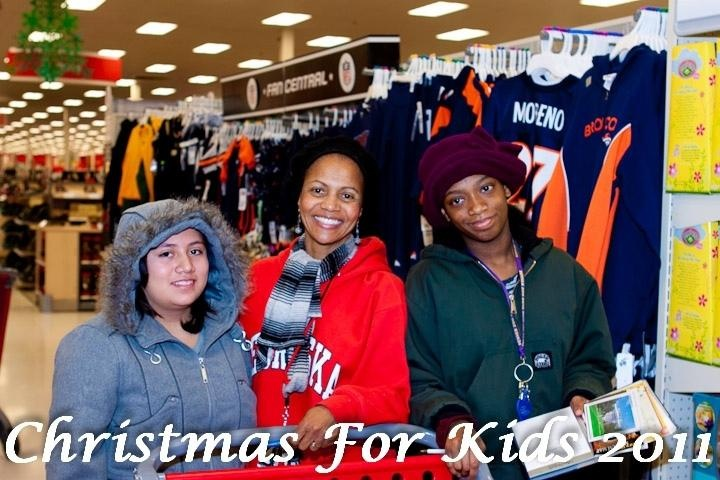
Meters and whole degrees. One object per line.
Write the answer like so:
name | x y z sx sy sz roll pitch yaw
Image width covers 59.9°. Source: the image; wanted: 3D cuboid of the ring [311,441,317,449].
ring | -0.164 0.722 2.187 0.014 0.026 0.023 4 -2 14
